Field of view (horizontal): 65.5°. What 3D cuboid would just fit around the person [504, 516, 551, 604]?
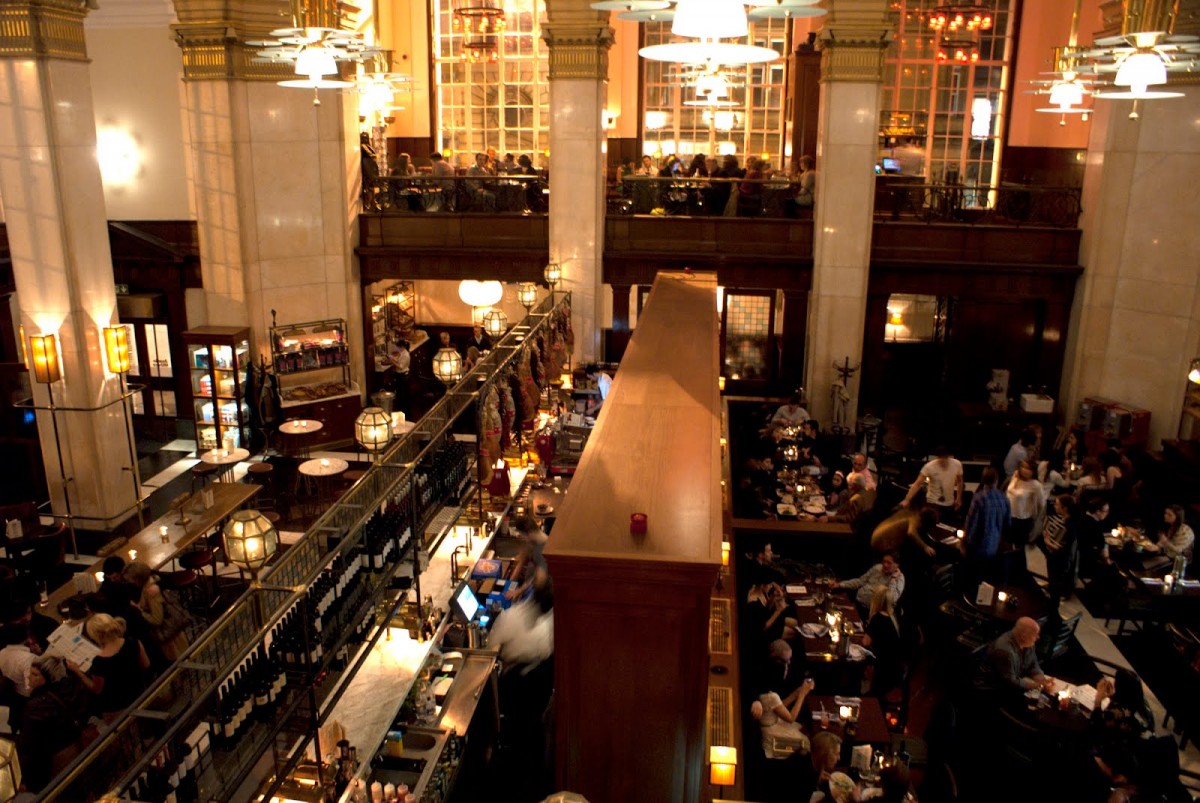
[{"bbox_3d":[-0.866,1.820,10.492,0.345,1.214,0.362,18,34,2],"label":"person"}]

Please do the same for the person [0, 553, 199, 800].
[{"bbox_3d":[-4.695,2.573,8.688,0.564,0.634,1.758,-16,3,8],"label":"person"}]

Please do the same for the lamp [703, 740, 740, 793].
[{"bbox_3d":[1.066,3.200,8.244,0.375,0.498,0.333,0,0,-1],"label":"lamp"}]

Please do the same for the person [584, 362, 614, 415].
[{"bbox_3d":[-0.041,-0.159,13.221,0.480,0.722,1.010,-2,17,-2],"label":"person"}]

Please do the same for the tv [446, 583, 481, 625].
[{"bbox_3d":[-1.356,2.075,9.635,0.321,0.303,0.446,0,31,8],"label":"tv"}]
